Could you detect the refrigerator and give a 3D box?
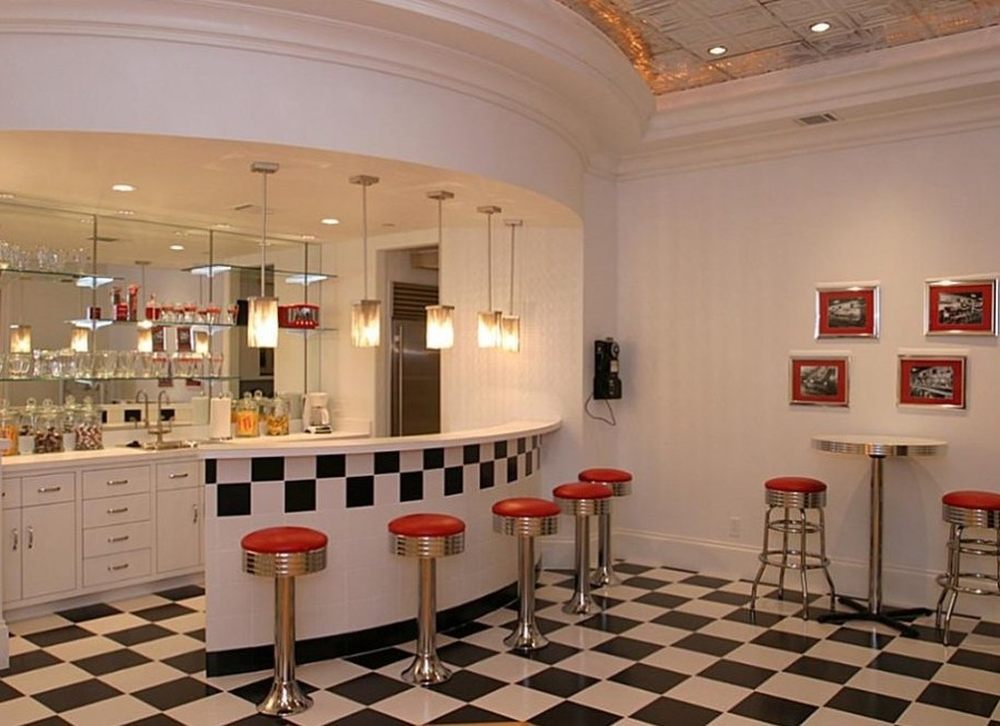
[{"bbox_3d":[-0.798,-0.048,7.644,0.296,1.480,0.701,4,7,29],"label":"refrigerator"}]

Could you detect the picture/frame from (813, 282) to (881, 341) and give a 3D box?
[{"bbox_3d":[2.721,-0.403,6.044,0.554,0.458,0.071,-1,0,35],"label":"picture/frame"}]

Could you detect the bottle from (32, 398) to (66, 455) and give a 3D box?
[{"bbox_3d":[-3.402,0.473,5.875,0.222,0.386,0.114,-3,7,-30],"label":"bottle"}]

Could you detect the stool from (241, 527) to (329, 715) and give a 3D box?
[{"bbox_3d":[-1.221,1.437,4.453,0.424,0.956,0.488,-5,8,-41],"label":"stool"}]

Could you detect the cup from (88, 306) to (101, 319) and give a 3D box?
[{"bbox_3d":[-3.165,-0.396,6.085,0.102,0.080,0.086,0,8,-12],"label":"cup"}]

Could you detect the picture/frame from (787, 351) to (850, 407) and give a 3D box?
[{"bbox_3d":[2.532,0.127,6.132,0.516,0.429,0.055,2,0,38],"label":"picture/frame"}]

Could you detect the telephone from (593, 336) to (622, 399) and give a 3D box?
[{"bbox_3d":[0.953,0.066,6.787,0.266,0.562,0.169,-5,8,-39],"label":"telephone"}]

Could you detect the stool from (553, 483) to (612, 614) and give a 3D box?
[{"bbox_3d":[0.626,1.333,5.929,0.414,0.922,0.788,1,6,6],"label":"stool"}]

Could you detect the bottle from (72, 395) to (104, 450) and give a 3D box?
[{"bbox_3d":[-3.180,0.456,6.041,0.222,0.422,0.145,-5,8,-41],"label":"bottle"}]

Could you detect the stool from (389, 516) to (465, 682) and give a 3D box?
[{"bbox_3d":[-0.451,1.407,4.709,0.392,0.941,0.377,5,8,39],"label":"stool"}]

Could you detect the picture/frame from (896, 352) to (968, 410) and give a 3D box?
[{"bbox_3d":[3.203,0.134,5.732,0.498,0.417,0.052,3,-4,36],"label":"picture/frame"}]
